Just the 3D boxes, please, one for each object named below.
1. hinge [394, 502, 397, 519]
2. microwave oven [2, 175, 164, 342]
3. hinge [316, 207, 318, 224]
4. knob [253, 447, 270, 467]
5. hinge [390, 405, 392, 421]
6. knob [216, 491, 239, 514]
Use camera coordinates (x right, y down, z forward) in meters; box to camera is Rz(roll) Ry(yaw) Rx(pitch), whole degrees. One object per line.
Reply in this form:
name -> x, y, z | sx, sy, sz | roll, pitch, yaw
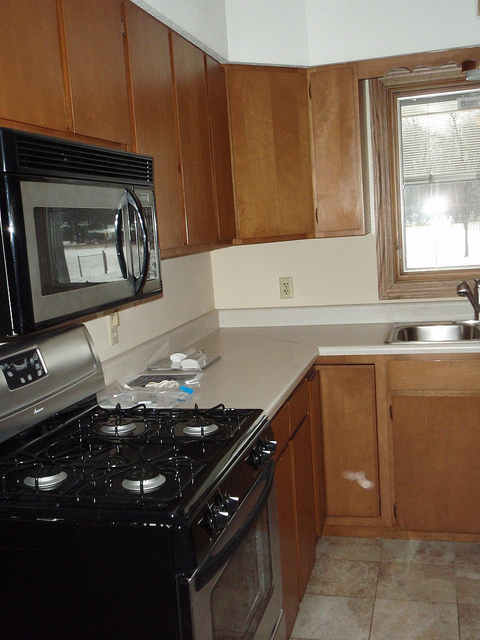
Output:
hinge -> 0.717, 0.880, 2.309 | 0.011, 0.065, 0.017 | 0, -4, 32
microwave oven -> -0.311, -0.136, 0.991 | 0.236, 0.253, 0.505 | 1, 8, 11
hinge -> 0.394, -0.546, 2.570 | 0.008, 0.063, 0.006 | 1, 5, 19
knob -> 0.050, 0.324, 1.180 | 0.028, 0.031, 0.049 | 2, -2, 5
hinge -> 0.673, 0.404, 2.228 | 0.011, 0.059, 0.008 | -1, 5, -3
knob -> -0.026, 0.333, 0.910 | 0.034, 0.018, 0.049 | 4, 12, 0
